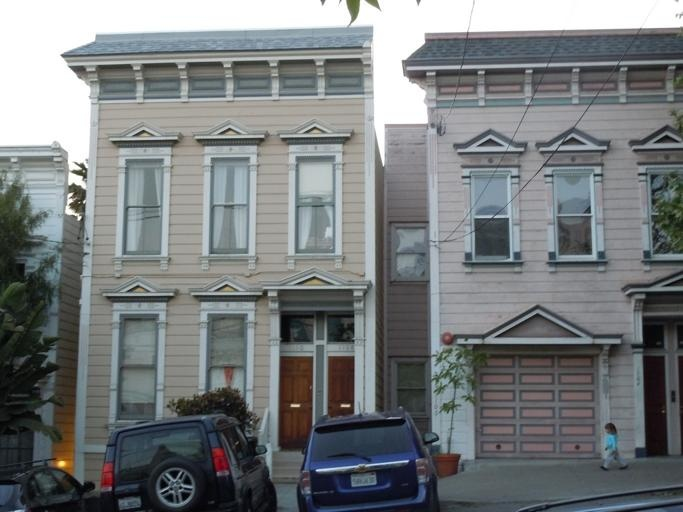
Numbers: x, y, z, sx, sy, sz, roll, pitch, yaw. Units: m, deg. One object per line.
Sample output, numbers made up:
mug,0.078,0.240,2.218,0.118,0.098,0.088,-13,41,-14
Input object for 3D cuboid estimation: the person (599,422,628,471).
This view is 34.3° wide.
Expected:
person,6.788,4.831,27.830,0.642,1.210,1.314,-4,-12,14

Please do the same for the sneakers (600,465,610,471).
sneakers,6.459,5.279,27.277,0.207,0.130,0.300,-3,-11,11
